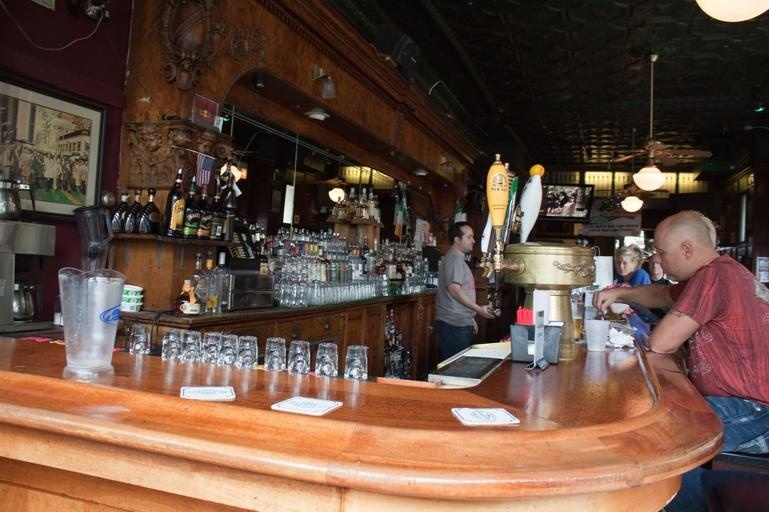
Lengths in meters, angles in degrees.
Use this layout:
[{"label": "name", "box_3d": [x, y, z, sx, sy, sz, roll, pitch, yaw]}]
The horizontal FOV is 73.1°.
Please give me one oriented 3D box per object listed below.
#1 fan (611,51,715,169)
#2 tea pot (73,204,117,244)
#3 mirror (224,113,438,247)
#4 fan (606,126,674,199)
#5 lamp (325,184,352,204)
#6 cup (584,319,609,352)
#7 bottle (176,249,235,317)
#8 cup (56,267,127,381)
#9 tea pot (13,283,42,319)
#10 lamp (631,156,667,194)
[{"label": "fan", "box_3d": [4.472, -2.347, 8.361, 1.512, 1.345, 1.364, 0, -1, -4]}, {"label": "tea pot", "box_3d": [-1.706, -0.188, 3.104, 0.254, 0.241, 0.231, 3, 4, 27]}, {"label": "mirror", "box_3d": [-0.760, -0.813, 5.803, 0.340, 1.094, 2.892, 7, 9, 30]}, {"label": "fan", "box_3d": [5.154, -1.862, 10.417, 1.526, 0.946, 1.513, 0, -8, 8]}, {"label": "lamp", "box_3d": [-0.565, -0.729, 6.319, 0.212, 0.156, 0.204, 2, 3, 13]}, {"label": "cup", "box_3d": [1.036, 0.393, 2.538, 0.160, 0.153, 0.148, 2, -4, 0]}, {"label": "bottle", "box_3d": [-1.202, 0.204, 3.470, 0.176, 0.454, 0.443, 0, -6, 32]}, {"label": "cup", "box_3d": [-1.029, 0.230, 1.810, 0.184, 0.357, 0.131, 5, 9, 20]}, {"label": "tea pot", "box_3d": [-1.903, 0.261, 2.863, 0.198, 0.180, 0.141, 10, -12, -41]}, {"label": "lamp", "box_3d": [3.669, -1.115, 7.225, 0.344, 0.410, 0.383, 6, 8, 23]}]
